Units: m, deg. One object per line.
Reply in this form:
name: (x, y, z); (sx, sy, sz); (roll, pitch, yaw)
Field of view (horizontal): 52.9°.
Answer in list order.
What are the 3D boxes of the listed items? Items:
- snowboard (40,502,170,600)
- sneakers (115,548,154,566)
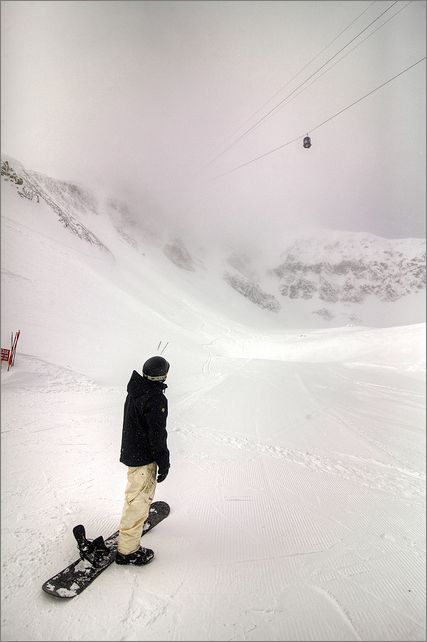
snowboard: (-1.059, 2.374, 4.636); (0.367, 0.480, 1.656); (2, 4, 18)
sneakers: (-0.792, 2.338, 4.301); (0.351, 0.183, 0.155); (3, -4, -18)
